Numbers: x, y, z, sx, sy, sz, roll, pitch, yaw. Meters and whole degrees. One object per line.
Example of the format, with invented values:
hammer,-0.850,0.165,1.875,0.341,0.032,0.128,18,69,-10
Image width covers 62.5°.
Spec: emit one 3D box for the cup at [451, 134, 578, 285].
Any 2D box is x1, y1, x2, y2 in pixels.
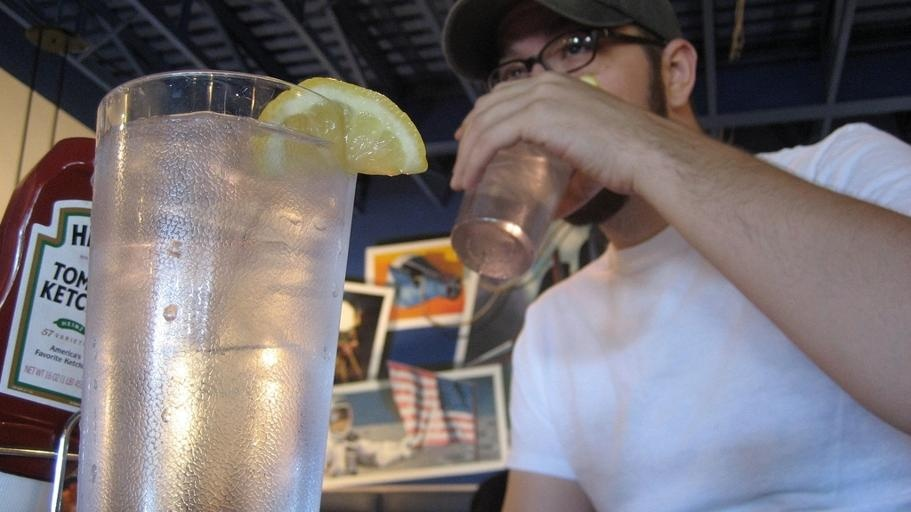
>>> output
cup,0.125,-0.119,1.837,0.239,0.289,0.264,13,-24,-37
